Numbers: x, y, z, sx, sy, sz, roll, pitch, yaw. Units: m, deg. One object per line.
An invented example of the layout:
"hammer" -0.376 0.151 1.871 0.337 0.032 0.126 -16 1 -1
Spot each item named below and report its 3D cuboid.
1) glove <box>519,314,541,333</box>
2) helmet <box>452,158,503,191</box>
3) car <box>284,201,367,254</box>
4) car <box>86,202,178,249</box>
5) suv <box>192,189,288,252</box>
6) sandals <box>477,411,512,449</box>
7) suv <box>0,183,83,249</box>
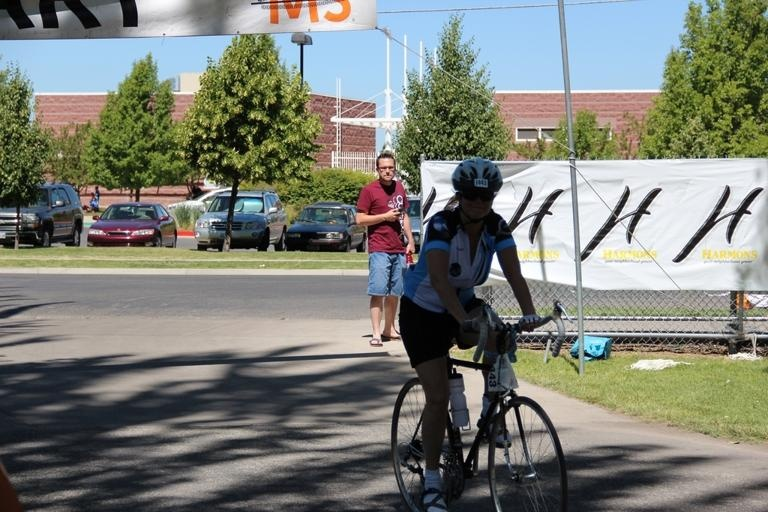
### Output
"glove" 1.294 0.595 9.231 0.136 0.174 0.074 3 11 1
"helmet" 0.829 -0.735 9.280 0.423 0.321 0.228 0 3 3
"car" -1.654 -0.885 32.253 1.402 1.010 2.742 0 -2 11
"car" -7.749 -0.954 31.671 2.237 1.382 2.997 0 3 -4
"suv" -4.498 -1.117 32.314 2.287 1.865 3.390 1 3 11
"sandals" 0.984 1.624 9.439 0.169 0.173 0.450 -5 -2 -20
"suv" -10.647 -1.130 32.025 1.497 1.149 2.505 -1 -2 10
